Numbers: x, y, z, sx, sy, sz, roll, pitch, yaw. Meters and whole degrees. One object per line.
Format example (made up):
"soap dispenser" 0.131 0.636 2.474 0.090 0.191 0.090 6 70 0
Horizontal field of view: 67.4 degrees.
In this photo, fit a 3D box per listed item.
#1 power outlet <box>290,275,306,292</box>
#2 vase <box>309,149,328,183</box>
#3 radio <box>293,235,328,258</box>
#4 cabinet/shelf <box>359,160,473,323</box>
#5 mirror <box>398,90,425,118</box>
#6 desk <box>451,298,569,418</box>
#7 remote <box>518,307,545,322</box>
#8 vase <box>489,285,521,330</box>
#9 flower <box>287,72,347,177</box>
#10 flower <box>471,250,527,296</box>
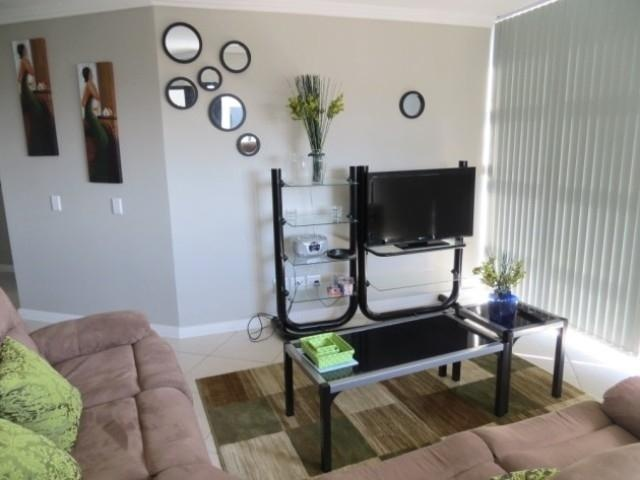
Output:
"power outlet" -0.193 0.410 4.491 0.207 0.151 0.112 -1 8 -27
"vase" -0.004 -0.640 4.202 0.102 0.304 0.196 8 16 40
"radio" -0.092 0.066 4.302 0.301 0.175 0.162 -4 12 -3
"cabinet/shelf" 0.856 -0.020 4.467 1.323 1.815 0.580 -5 13 -17
"mirror" 0.883 -1.284 4.608 0.250 0.259 0.059 8 8 -25
"desk" 1.403 0.674 3.489 0.704 0.710 0.695 -10 19 -30
"remote" 1.522 0.544 3.459 0.103 0.029 0.111 -1 13 -18
"vase" 1.301 0.488 3.440 0.178 0.259 0.185 -4 4 -34
"flower" -0.006 -0.985 4.250 0.539 0.933 0.376 -5 13 -10
"flower" 1.536 0.265 4.088 0.419 0.479 0.412 6 6 42
